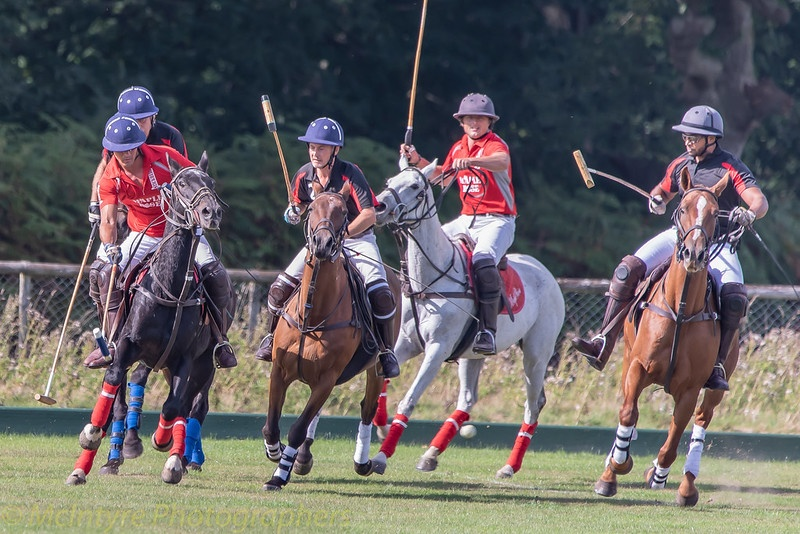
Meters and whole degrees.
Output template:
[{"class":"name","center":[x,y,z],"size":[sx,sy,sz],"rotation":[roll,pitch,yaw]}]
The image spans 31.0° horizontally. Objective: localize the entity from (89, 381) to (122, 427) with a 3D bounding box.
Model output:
[{"class":"entity","center":[-3.674,1.745,18.015],"size":[0.234,0.747,0.218],"rotation":[15,-32,5]}]

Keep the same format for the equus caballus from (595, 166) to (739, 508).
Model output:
[{"class":"equus caballus","center":[3.537,0.886,18.720],"size":[1.372,4.489,1.446],"rotation":[8,-4,1]}]

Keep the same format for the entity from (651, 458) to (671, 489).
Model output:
[{"class":"entity","center":[3.469,2.769,19.157],"size":[0.147,0.471,0.450],"rotation":[11,15,6]}]

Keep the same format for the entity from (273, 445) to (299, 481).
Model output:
[{"class":"entity","center":[-1.454,2.521,18.472],"size":[0.157,0.493,0.329],"rotation":[20,5,18]}]

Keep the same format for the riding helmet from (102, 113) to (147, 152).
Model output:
[{"class":"riding helmet","center":[-3.497,-1.757,18.255],"size":[0.534,0.278,0.710],"rotation":[-5,31,-4]}]

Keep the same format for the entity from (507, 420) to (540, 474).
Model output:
[{"class":"entity","center":[1.716,2.512,20.265],"size":[0.252,0.894,0.266],"rotation":[16,-35,17]}]

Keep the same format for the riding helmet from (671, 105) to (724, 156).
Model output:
[{"class":"riding helmet","center":[4.051,-1.857,19.348],"size":[0.644,0.686,0.569],"rotation":[-1,7,-16]}]

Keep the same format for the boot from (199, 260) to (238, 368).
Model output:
[{"class":"boot","center":[-2.311,0.595,18.805],"size":[0.347,1.396,0.449],"rotation":[-1,7,26]}]

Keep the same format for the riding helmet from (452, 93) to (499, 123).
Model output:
[{"class":"riding helmet","center":[1.083,-2.298,20.003],"size":[0.561,0.404,0.448],"rotation":[8,-4,4]}]

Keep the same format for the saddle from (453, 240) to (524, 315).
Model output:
[{"class":"saddle","center":[1.304,0.145,19.855],"size":[0.399,1.129,0.819],"rotation":[-35,35,-27]}]

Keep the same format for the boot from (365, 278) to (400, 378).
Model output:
[{"class":"boot","center":[-0.203,0.784,18.779],"size":[0.317,1.451,0.421],"rotation":[8,41,21]}]

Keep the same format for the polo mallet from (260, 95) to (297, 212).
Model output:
[{"class":"polo mallet","center":[-2.205,-2.018,26.002],"size":[0.341,2.789,0.207],"rotation":[-29,-30,31]}]

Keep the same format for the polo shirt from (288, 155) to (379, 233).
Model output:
[{"class":"polo shirt","center":[-0.874,-1.105,18.810],"size":[0.497,1.661,0.968],"rotation":[0,11,46]}]

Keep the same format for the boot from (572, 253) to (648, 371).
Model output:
[{"class":"boot","center":[3.053,0.716,20.893],"size":[0.444,1.577,0.881],"rotation":[25,-12,4]}]

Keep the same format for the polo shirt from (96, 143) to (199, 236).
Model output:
[{"class":"polo shirt","center":[-3.251,-0.990,18.762],"size":[0.858,1.496,0.915],"rotation":[-8,-8,16]}]
